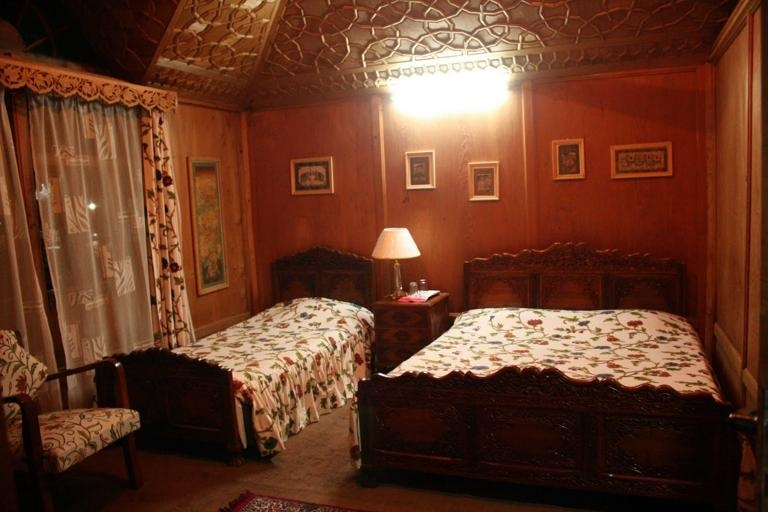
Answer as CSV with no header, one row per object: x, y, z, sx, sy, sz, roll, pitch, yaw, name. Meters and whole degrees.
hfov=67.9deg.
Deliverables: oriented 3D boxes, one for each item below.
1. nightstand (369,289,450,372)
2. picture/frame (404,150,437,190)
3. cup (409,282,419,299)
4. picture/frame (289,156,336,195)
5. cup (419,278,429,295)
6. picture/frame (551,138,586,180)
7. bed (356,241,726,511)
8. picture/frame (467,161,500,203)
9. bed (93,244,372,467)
0.242,0.749,6.207,0.816,1.095,0.776,0,4,17,nightstand
0.385,-0.952,6.302,0.348,0.397,0.040,3,8,35,picture/frame
0.290,0.353,6.213,0.119,0.183,0.119,1,-1,0,cup
-0.818,-0.961,6.672,0.471,0.363,0.020,2,5,16,picture/frame
0.464,0.319,6.264,0.114,0.161,0.114,1,-2,0,cup
1.880,-0.997,5.787,0.434,0.550,0.059,1,4,17,picture/frame
1.366,0.817,4.875,2.511,1.378,2.496,2,14,19,bed
1.062,-0.800,6.093,0.335,0.401,0.032,2,9,31,picture/frame
-1.149,0.778,5.566,1.606,1.332,2.130,1,5,26,bed
